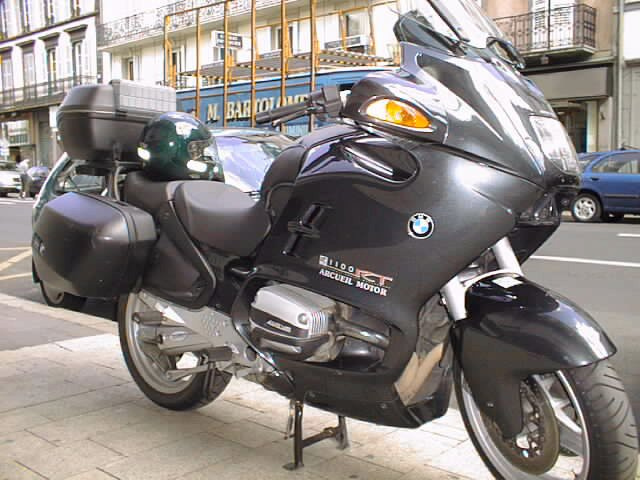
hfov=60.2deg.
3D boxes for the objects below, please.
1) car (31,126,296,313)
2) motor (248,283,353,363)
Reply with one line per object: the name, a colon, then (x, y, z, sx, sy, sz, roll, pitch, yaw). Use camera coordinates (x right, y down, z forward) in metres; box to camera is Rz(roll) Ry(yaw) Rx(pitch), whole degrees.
car: (-1.812, -0.388, 6.679, 3.433, 1.701, 2.053, -1, 3, 40)
motor: (-0.083, 0.388, 2.660, 0.428, 0.286, 0.344, 8, -3, 28)
